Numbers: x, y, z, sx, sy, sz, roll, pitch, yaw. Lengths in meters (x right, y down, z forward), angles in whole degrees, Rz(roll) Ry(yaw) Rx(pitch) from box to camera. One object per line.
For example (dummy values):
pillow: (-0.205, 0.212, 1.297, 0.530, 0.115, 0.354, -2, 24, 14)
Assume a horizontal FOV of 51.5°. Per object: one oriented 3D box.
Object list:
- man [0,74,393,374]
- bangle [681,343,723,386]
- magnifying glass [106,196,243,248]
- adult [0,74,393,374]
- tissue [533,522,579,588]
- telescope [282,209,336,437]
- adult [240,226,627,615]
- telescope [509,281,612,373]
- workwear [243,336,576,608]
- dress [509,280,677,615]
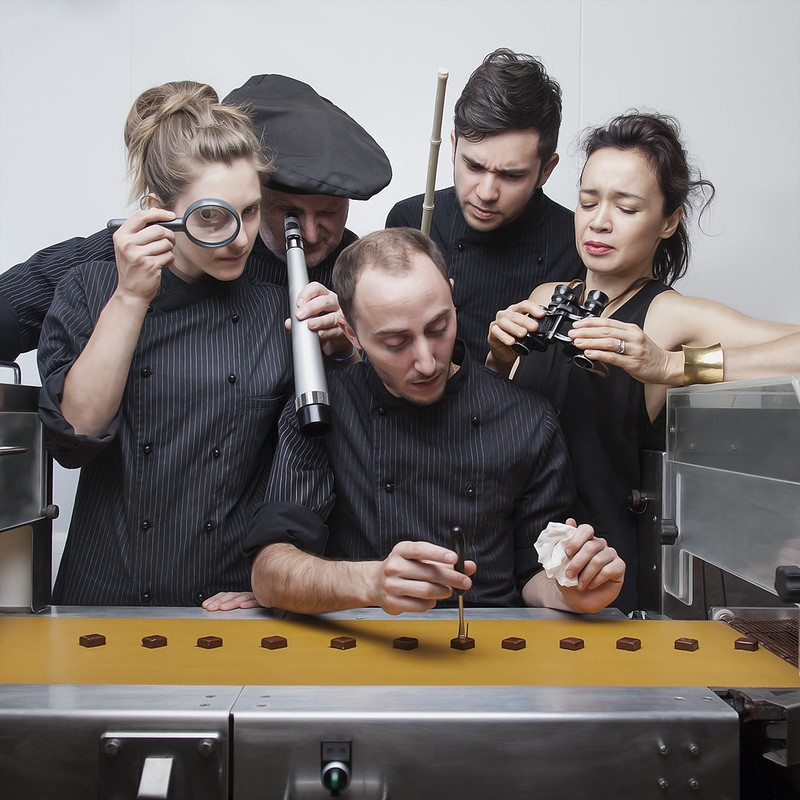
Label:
man: (-0.569, -0.385, 2.075, 0.872, 0.350, 0.922, 24, 25, 29)
bangle: (0.626, -0.074, 1.767, 0.096, 0.093, 0.080, 1, 14, 6)
magnifying glass: (-0.434, -0.349, 1.634, 0.335, 0.091, 0.102, 10, 14, 38)
adult: (-0.559, -0.358, 2.096, 0.872, 0.350, 0.922, 24, 25, 29)
tissue: (0.258, 0.269, 1.421, 0.036, 0.099, 0.099, 10, -4, -40)
telescope: (-0.235, -0.159, 1.667, 0.079, 0.570, 0.072, 14, -41, -39)
adult: (0.064, 0.063, 1.699, 0.749, 0.968, 0.606, -5, 26, -7)
telescope: (0.352, -0.170, 1.812, 0.230, 0.212, 0.078, 20, -16, 12)
workwear: (0.019, 0.205, 1.880, 0.905, 0.644, 0.481, 2, 8, 1)
dress: (0.466, 0.103, 1.953, 0.595, 0.672, 0.194, 1, -2, 25)
